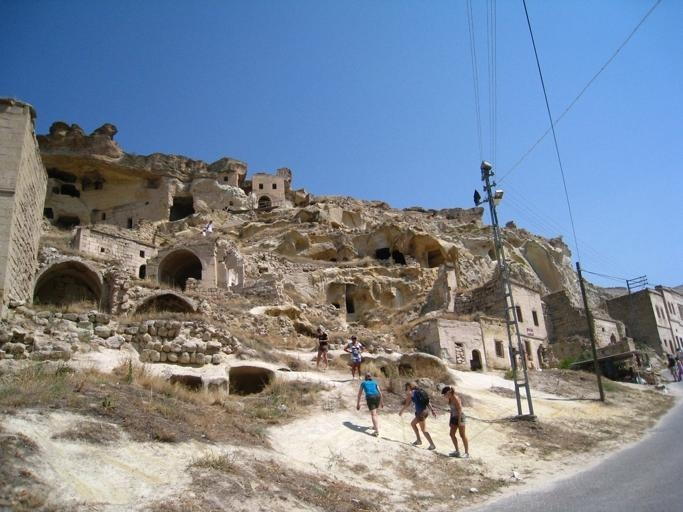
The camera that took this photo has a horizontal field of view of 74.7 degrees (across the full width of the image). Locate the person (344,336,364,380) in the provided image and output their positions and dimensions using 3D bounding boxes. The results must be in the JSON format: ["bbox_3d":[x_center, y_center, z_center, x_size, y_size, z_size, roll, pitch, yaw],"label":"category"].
[{"bbox_3d":[0.545,3.631,16.893,0.771,1.520,2.277,13,-1,2],"label":"person"}]

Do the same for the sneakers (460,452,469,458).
[{"bbox_3d":[3.134,5.008,11.341,0.225,0.099,0.099,2,-9,11],"label":"sneakers"}]

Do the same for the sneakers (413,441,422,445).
[{"bbox_3d":[2.003,4.869,11.738,0.186,0.079,0.087,2,-14,18],"label":"sneakers"}]

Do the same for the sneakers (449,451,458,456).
[{"bbox_3d":[2.864,4.998,11.378,0.254,0.127,0.094,2,-10,12],"label":"sneakers"}]
